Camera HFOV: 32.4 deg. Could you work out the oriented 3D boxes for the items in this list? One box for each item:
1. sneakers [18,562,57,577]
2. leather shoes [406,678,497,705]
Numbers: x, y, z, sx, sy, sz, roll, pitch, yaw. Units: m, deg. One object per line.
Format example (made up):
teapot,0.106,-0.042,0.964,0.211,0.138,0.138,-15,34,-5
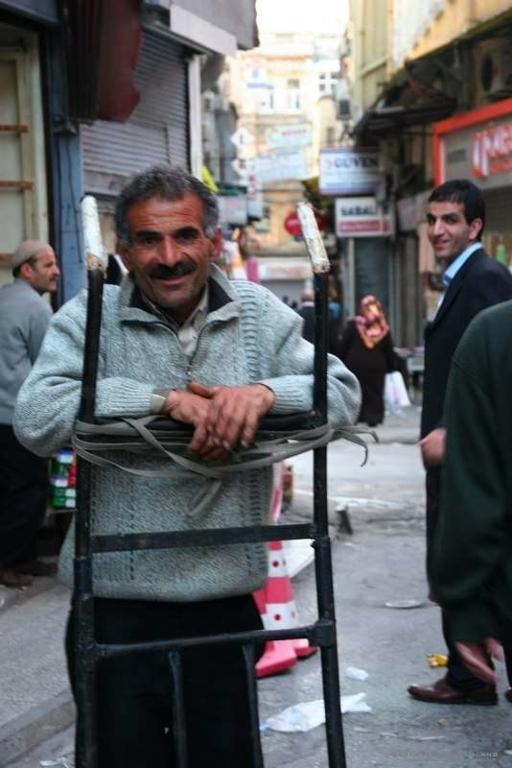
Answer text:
sneakers,-1.334,1.123,5.339,0.222,0.089,0.073,-5,9,-13
leather shoes,0.755,1.171,3.408,0.314,0.125,0.110,3,-7,17
